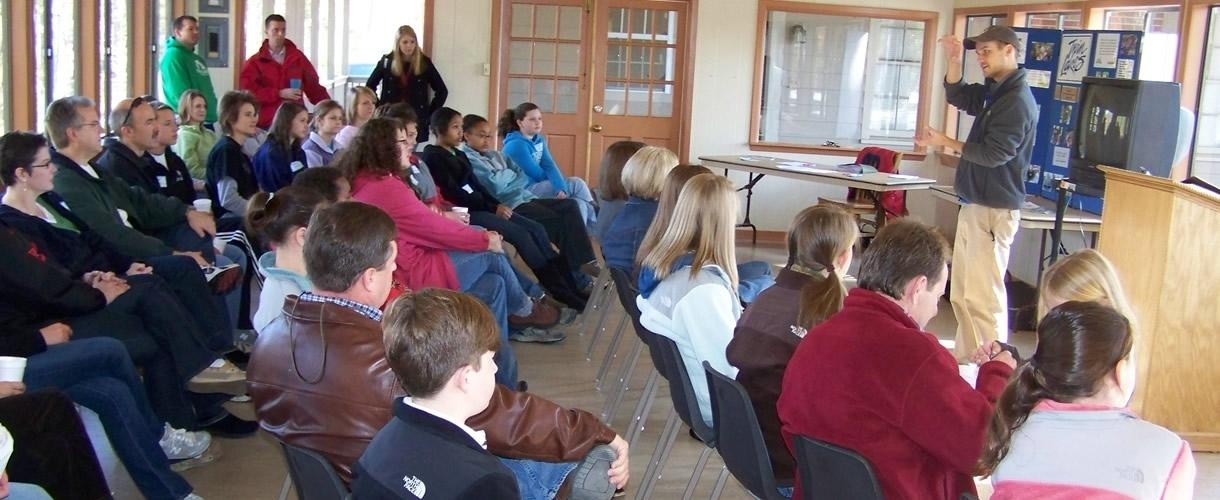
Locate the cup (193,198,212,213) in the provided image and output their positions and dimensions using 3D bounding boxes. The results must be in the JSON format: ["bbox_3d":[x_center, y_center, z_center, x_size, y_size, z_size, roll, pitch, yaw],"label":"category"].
[{"bbox_3d":[-4.032,-0.442,7.672,0.193,0.116,0.171,-2,10,-10],"label":"cup"}]

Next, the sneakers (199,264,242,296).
[{"bbox_3d":[-3.565,0.268,7.163,0.421,0.176,0.156,-20,48,-4],"label":"sneakers"}]

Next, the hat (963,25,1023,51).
[{"bbox_3d":[3.924,-2.207,8.009,0.499,0.250,0.380,6,9,28],"label":"hat"}]

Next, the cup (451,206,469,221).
[{"bbox_3d":[-1.566,-0.379,8.116,0.205,0.118,0.146,-2,13,-5],"label":"cup"}]

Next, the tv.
[{"bbox_3d":[5.347,-1.216,8.137,0.938,1.233,0.530,8,11,37],"label":"tv"}]

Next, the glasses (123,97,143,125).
[{"bbox_3d":[-4.817,-1.407,7.821,0.224,0.242,0.096,17,5,-19],"label":"glasses"}]

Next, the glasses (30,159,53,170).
[{"bbox_3d":[-4.844,-0.736,6.634,0.090,0.072,0.172,4,7,11],"label":"glasses"}]
